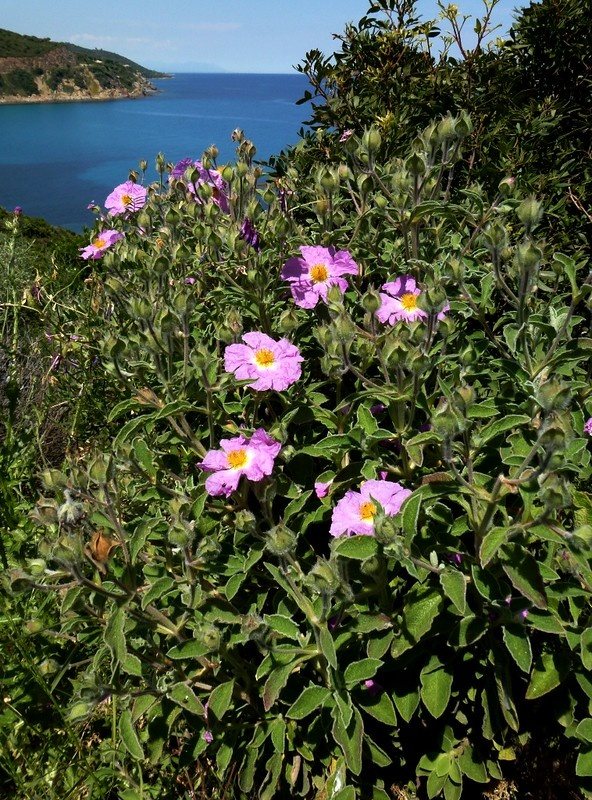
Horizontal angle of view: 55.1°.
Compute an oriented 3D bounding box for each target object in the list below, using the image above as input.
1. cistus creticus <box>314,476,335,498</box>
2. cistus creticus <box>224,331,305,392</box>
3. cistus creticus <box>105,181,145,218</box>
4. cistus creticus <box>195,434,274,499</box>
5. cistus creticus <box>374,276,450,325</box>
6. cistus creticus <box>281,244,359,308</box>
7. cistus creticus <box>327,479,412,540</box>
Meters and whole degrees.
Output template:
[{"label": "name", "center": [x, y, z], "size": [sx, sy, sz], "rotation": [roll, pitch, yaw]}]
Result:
[{"label": "cistus creticus", "center": [0.098, 0.314, 1.987], "size": [0.066, 0.053, 0.027], "rotation": [-19, 2, 31]}, {"label": "cistus creticus", "center": [-0.121, -0.100, 2.076], "size": [0.275, 0.268, 0.360], "rotation": [-3, 19, -10]}, {"label": "cistus creticus", "center": [-1.032, -1.256, 3.540], "size": [0.212, 0.215, 0.440], "rotation": [-16, 25, -40]}, {"label": "cistus creticus", "center": [-0.182, 0.187, 1.817], "size": [0.264, 0.097, 0.307], "rotation": [5, 19, -19]}, {"label": "cistus creticus", "center": [0.394, -0.380, 2.177], "size": [0.168, 0.168, 0.415], "rotation": [3, 19, 7]}, {"label": "cistus creticus", "center": [0.094, -0.522, 2.367], "size": [0.289, 0.120, 0.275], "rotation": [29, 67, 11]}, {"label": "cistus creticus", "center": [0.232, 0.306, 1.768], "size": [0.241, 0.110, 0.232], "rotation": [-2, -24, -11]}]
